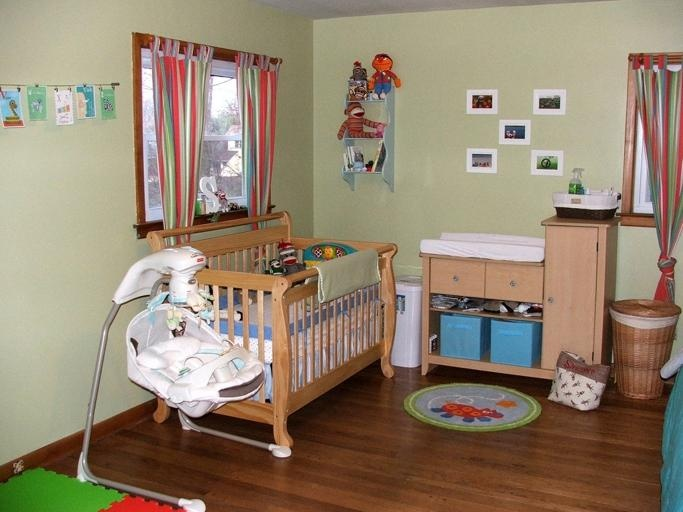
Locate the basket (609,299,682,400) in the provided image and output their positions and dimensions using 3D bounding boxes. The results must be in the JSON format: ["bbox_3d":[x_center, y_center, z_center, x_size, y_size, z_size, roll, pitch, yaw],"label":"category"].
[{"bbox_3d":[2.128,0.617,4.094,0.573,0.740,0.611,0,6,24],"label":"basket"}]

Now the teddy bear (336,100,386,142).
[{"bbox_3d":[0.196,-1.236,4.962,0.457,0.324,0.274,8,15,25],"label":"teddy bear"}]

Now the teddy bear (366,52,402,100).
[{"bbox_3d":[0.383,-1.599,4.871,0.296,0.381,0.186,2,11,15],"label":"teddy bear"}]

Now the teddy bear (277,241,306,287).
[{"bbox_3d":[-0.375,0.065,4.166,0.175,0.375,0.148,-15,0,-7],"label":"teddy bear"}]

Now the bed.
[{"bbox_3d":[-0.398,0.378,3.786,1.154,1.228,1.366,5,12,26],"label":"bed"}]

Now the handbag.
[{"bbox_3d":[1.586,0.855,3.693,0.201,0.352,0.357,8,3,-35],"label":"handbag"}]

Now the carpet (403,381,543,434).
[{"bbox_3d":[0.876,0.992,3.684,0.910,0.013,0.733,0,11,2],"label":"carpet"}]

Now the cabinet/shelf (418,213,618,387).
[{"bbox_3d":[1.306,0.316,4.192,1.322,1.192,0.466,2,8,20],"label":"cabinet/shelf"}]

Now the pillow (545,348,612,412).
[{"bbox_3d":[1.590,0.857,3.703,0.203,0.366,0.364,14,-2,-33],"label":"pillow"}]

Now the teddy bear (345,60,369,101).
[{"bbox_3d":[0.147,-1.569,4.921,0.218,0.321,0.218,-6,18,-19],"label":"teddy bear"}]
